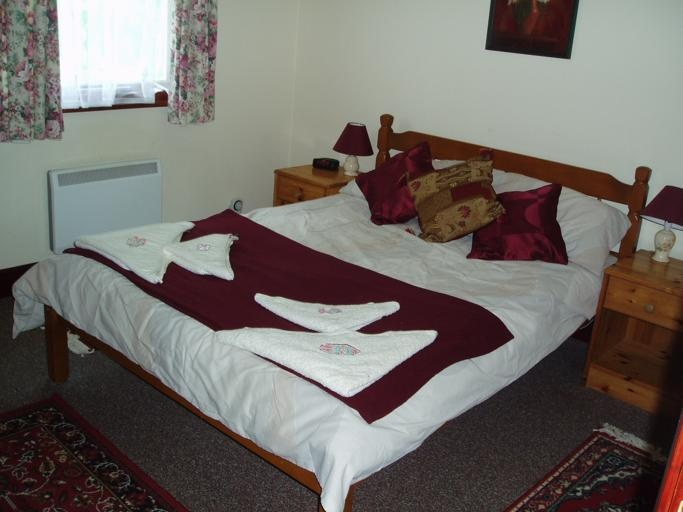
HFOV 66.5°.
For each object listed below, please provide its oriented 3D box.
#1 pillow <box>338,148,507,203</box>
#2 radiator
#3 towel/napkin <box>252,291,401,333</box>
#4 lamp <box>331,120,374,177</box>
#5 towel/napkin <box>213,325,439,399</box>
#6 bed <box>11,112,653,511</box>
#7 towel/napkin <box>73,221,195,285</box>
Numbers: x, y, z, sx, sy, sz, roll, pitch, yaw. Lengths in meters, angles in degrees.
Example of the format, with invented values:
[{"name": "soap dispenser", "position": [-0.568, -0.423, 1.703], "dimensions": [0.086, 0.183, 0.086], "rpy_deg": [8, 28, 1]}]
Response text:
[{"name": "pillow", "position": [0.588, -0.658, 3.852], "dimensions": [0.612, 0.171, 0.568], "rpy_deg": [-18, 27, -26]}, {"name": "radiator", "position": [-1.701, -0.354, 3.639], "dimensions": [0.708, 0.493, 0.094], "rpy_deg": [-15, 24, -42]}, {"name": "towel/napkin", "position": [-0.030, 0.274, 2.499], "dimensions": [0.655, 0.049, 0.475], "rpy_deg": [-2, 7, -44]}, {"name": "lamp", "position": [0.097, -0.902, 4.435], "dimensions": [0.369, 0.415, 0.367], "rpy_deg": [-17, 33, -41]}, {"name": "towel/napkin", "position": [0.018, 0.389, 2.160], "dimensions": [0.426, 0.060, 0.428], "rpy_deg": [18, 24, 41]}, {"name": "bed", "position": [0.375, 0.181, 2.856], "dimensions": [2.514, 1.074, 2.140], "rpy_deg": [-26, 41, -38]}, {"name": "towel/napkin", "position": [-1.066, -0.041, 2.872], "dimensions": [0.387, 0.058, 0.396], "rpy_deg": [19, 24, 28]}]
